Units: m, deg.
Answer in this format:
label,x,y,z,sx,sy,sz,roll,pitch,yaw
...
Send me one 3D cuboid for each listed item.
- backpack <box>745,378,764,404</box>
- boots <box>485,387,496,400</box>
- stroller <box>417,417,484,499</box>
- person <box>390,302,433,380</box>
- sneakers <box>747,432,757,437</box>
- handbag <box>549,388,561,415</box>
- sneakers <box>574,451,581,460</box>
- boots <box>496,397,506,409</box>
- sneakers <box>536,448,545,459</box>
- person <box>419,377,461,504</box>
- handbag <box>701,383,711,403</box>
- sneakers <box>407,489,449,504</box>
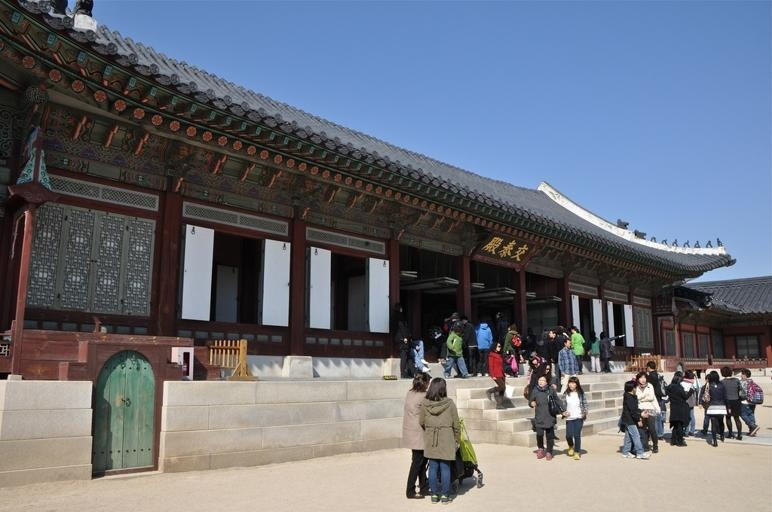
label,x,y,z,sx,sy,sz,roll,pitch,yaw
backpack,9.201,3.426,13.981,0.352,0.639,0.608,-10,-16,31
boots,2.669,3.467,14.090,0.293,0.401,0.155,-5,1,9
stroller,1.169,3.486,10.222,1.107,1.992,1.273,-3,-8,14
person,0.616,2.345,15.647,0.903,2.082,0.623,-1,-14,1
sneakers,9.393,4.589,14.329,0.155,0.181,0.468,-14,-22,39
handbag,3.516,3.068,11.625,0.247,0.489,0.135,5,-15,-24
sneakers,4.014,4.211,11.706,0.117,0.135,0.420,-6,-15,18
boots,2.849,3.665,13.859,0.221,0.271,0.510,-7,-15,21
sneakers,3.240,4.155,11.698,0.157,0.178,0.310,-5,-14,14
person,0.895,3.031,9.188,0.670,1.958,0.333,-2,-14,4
handbag,7.751,3.363,13.540,0.205,0.446,0.387,-7,-15,21
sneakers,0.699,3.924,9.136,0.657,0.281,0.225,7,-22,1
